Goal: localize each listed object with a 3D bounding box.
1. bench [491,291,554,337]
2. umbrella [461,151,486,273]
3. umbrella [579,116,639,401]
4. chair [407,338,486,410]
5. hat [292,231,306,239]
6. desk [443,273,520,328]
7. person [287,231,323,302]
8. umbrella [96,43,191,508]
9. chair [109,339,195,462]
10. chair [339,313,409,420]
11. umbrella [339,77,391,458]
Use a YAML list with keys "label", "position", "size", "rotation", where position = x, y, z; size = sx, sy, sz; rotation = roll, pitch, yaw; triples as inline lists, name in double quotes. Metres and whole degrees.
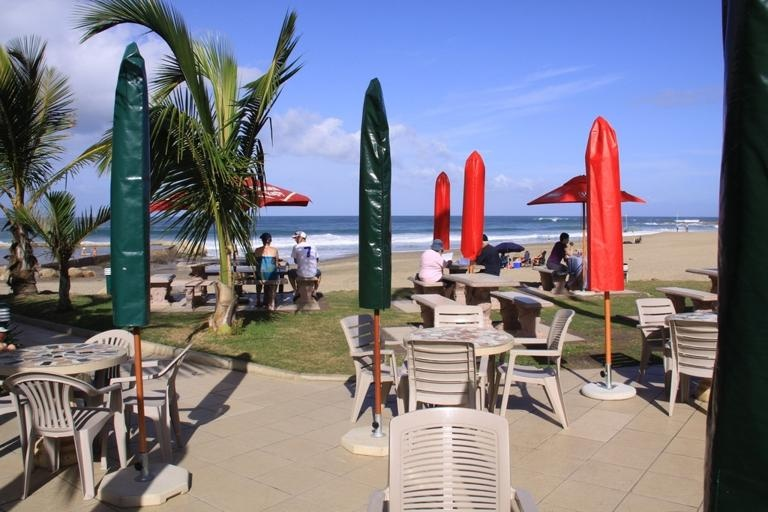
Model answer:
- label: "bench"
  position: [2.682, 1.200, 12.258]
  size: [0.580, 0.702, 1.943]
  rotation: [11, 1, -18]
- label: "umbrella"
  position: [1.881, -1.079, 12.809]
  size: [0.426, 2.290, 0.882]
  rotation: [1, 2, 7]
- label: "umbrella"
  position: [3.152, 0.039, 8.655]
  size: [0.726, 4.019, 0.552]
  rotation: [0, 3, -34]
- label: "chair"
  position: [0.698, 1.382, 7.427]
  size: [0.757, 1.166, 0.857]
  rotation: [0, 3, 10]
- label: "hat"
  position: [-2.214, -0.576, 15.822]
  size: [0.373, 0.198, 0.254]
  rotation: [0, -2, 3]
- label: "desk"
  position: [1.992, 1.185, 12.468]
  size: [0.955, 0.886, 1.783]
  rotation: [-2, 6, -15]
- label: "person"
  position: [-2.076, 0.257, 16.204]
  size: [0.662, 1.824, 1.097]
  rotation: [1, 2, -12]
- label: "umbrella"
  position: [-2.474, 0.203, 6.314]
  size: [0.854, 4.711, 0.780]
  rotation: [0, 3, -29]
- label: "chair"
  position: [-2.673, 1.738, 7.171]
  size: [0.676, 0.895, 0.718]
  rotation: [23, 23, 24]
- label: "chair"
  position: [0.064, 1.508, 8.352]
  size: [1.163, 1.396, 1.177]
  rotation: [-4, 3, -20]
- label: "umbrella"
  position: [-0.154, 0.123, 7.151]
  size: [0.495, 4.419, 0.791]
  rotation: [1, 2, -1]
